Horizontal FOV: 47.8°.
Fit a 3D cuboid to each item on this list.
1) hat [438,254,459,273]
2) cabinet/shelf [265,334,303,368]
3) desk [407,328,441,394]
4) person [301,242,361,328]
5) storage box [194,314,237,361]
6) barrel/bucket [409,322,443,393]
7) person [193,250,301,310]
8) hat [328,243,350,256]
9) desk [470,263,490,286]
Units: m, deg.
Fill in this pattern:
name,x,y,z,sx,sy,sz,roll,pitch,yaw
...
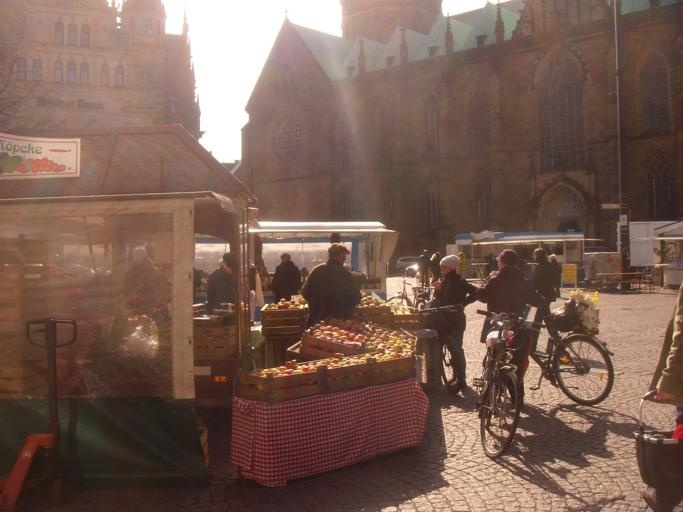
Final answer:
name,x,y,z,sx,sy,sz,roll,pitch,yaw
hat,1.495,0.109,10.769,0.263,0.234,0.204,0,6,28
cabinet/shelf,-0.810,1.255,10.730,0.527,0.577,0.398,-1,-3,2
desk,1.255,1.465,11.115,0.491,0.912,0.512,-2,-2,41
person,-0.134,0.385,10.341,0.762,1.068,0.306,0,5,-4
storage box,-1.573,1.010,9.615,0.493,0.557,0.322,-1,1,-4
barrel/bucket,1.226,1.530,11.104,0.552,0.983,0.559,-1,-14,0
person,-1.806,0.429,12.471,1.471,1.150,0.841,0,-1,-4
hat,-0.047,-0.091,10.419,0.211,0.123,0.157,-9,9,-33
desk,5.772,0.725,32.252,0.818,0.978,0.890,0,-3,-2
